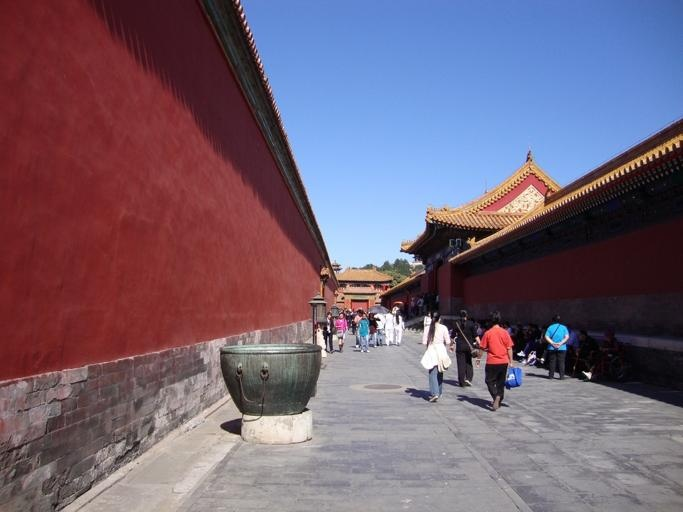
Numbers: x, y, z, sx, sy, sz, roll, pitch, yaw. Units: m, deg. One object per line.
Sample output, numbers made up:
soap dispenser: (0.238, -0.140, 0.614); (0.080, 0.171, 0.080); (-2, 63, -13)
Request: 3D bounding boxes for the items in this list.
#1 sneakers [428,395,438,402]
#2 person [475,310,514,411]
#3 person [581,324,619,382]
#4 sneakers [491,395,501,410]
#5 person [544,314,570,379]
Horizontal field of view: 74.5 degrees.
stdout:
sneakers: (1.885, 2.915, 9.228); (0.167, 0.136, 0.295); (-5, -10, 11)
person: (3.061, 2.027, 8.859); (0.593, 1.835, 0.793); (-5, -9, 17)
person: (6.740, 2.573, 11.618); (0.838, 1.233, 0.513); (-8, -10, 33)
sneakers: (2.936, 2.788, 8.541); (0.107, 0.337, 0.219); (3, 2, -6)
person: (5.923, 2.446, 12.397); (0.521, 1.787, 0.675); (-2, 19, 18)
